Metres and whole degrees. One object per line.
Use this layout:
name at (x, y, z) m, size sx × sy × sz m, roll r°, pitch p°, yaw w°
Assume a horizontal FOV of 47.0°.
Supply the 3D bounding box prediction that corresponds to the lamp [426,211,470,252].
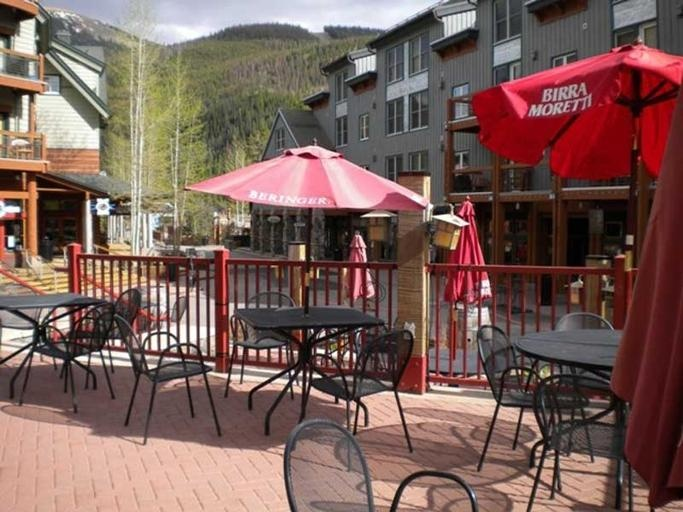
lamp at (1.713, -0.379, 12.599) m, size 0.459 × 0.550 × 0.468 m, roll 16°, pitch 8°, yaw 23°

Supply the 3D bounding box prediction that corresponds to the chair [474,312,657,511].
chair at (2.442, 1.585, 8.517) m, size 1.399 × 2.695 × 1.663 m, roll 0°, pitch 3°, yaw 1°

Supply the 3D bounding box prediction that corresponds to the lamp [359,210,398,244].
lamp at (0.855, -0.842, 20.779) m, size 1.087 × 1.085 × 1.124 m, roll 1°, pitch 3°, yaw 36°
